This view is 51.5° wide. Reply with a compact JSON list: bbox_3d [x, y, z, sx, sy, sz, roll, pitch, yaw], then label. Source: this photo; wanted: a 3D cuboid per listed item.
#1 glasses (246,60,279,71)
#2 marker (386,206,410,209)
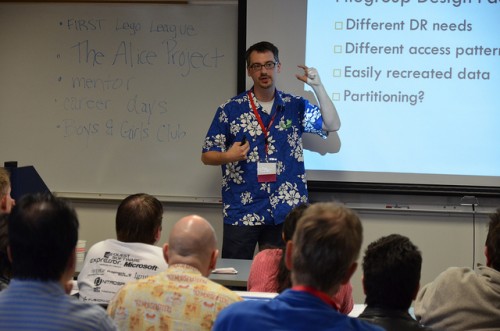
[{"bbox_3d":[0.096,-0.842,4.378,0.237,0.090,0.077,3,3,-2],"label":"glasses"},{"bbox_3d":[1.336,0.380,4.745,0.208,0.035,0.008,4,3,2],"label":"marker"}]
